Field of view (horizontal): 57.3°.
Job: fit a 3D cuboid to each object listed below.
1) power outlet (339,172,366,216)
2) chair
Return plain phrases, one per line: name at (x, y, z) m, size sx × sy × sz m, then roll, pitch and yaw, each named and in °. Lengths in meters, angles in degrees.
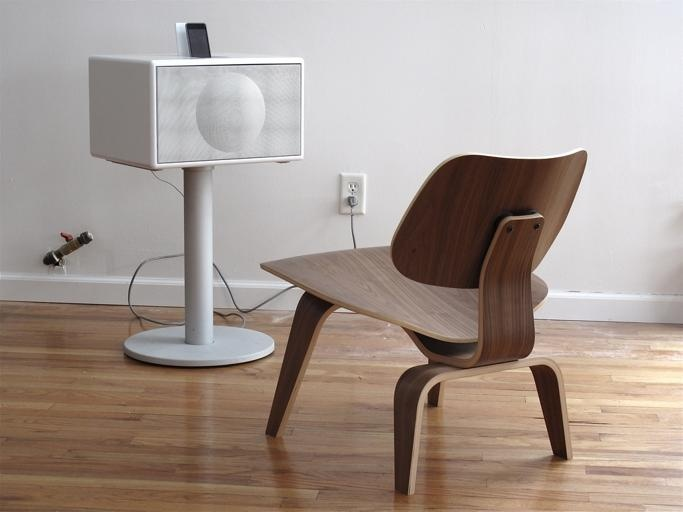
power outlet at (0.048, -0.238, 2.375) m, size 0.119 × 0.151 × 0.018 m, roll 6°, pitch 7°, yaw 31°
chair at (0.208, 0.107, 1.424) m, size 0.581 × 0.579 × 0.632 m, roll -1°, pitch 2°, yaw -32°
